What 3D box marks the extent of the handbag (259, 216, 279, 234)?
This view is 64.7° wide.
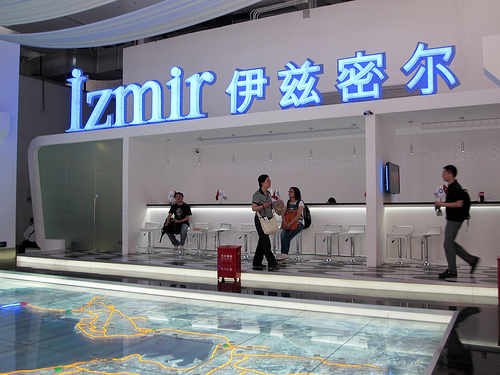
[{"bbox_3d":[0.355,0.680,7.279,0.370,0.343,0.228,1,-4,-12],"label":"handbag"}]

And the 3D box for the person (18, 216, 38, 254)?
[{"bbox_3d":[-6.617,1.366,11.840,0.511,0.975,2.329,2,-4,-28],"label":"person"}]

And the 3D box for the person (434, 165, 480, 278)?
[{"bbox_3d":[3.443,0.550,6.604,0.666,1.878,0.463,3,-5,-32],"label":"person"}]

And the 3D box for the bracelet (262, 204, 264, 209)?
[{"bbox_3d":[0.251,0.333,7.285,0.046,0.081,0.095,0,-4,3],"label":"bracelet"}]

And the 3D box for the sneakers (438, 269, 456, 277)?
[{"bbox_3d":[3.312,1.425,6.575,0.343,0.148,0.124,2,-6,-3],"label":"sneakers"}]

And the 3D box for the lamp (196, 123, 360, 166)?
[{"bbox_3d":[0.569,-1.143,11.157,4.983,0.650,2.271,-2,-5,31],"label":"lamp"}]

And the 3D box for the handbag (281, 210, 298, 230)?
[{"bbox_3d":[0.849,0.677,8.370,0.417,0.485,0.160,1,-5,30],"label":"handbag"}]

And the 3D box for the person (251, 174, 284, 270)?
[{"bbox_3d":[0.296,0.642,7.508,0.476,1.786,0.648,0,-4,0],"label":"person"}]

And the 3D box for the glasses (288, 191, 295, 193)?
[{"bbox_3d":[0.914,0.082,8.491,0.068,0.040,0.053,6,-7,-40],"label":"glasses"}]

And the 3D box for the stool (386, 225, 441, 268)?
[{"bbox_3d":[3.329,1.111,8.153,1.161,0.967,0.772,-3,-8,26],"label":"stool"}]

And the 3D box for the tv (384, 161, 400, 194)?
[{"bbox_3d":[2.983,-0.183,8.312,0.146,0.625,0.643,-1,3,27],"label":"tv"}]
